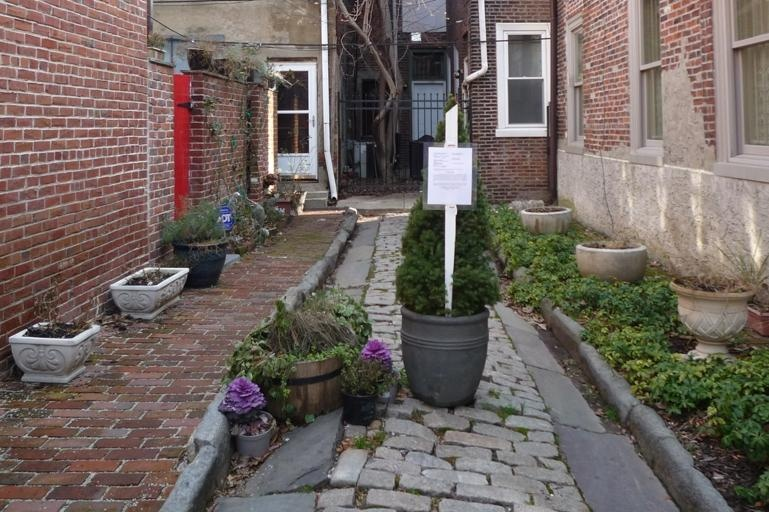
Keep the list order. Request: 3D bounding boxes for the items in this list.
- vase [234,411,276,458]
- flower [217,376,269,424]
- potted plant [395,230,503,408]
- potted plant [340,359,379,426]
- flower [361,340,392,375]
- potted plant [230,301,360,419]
[{"bbox_3d":[-0.958,1.343,4.085,0.256,0.191,0.264,0,-2,2],"label":"vase"},{"bbox_3d":[-1.045,1.052,4.109,0.304,0.333,0.308,10,15,35],"label":"flower"},{"bbox_3d":[0.511,0.792,4.833,0.720,0.942,0.755,-2,8,-14],"label":"potted plant"},{"bbox_3d":[-0.183,1.098,4.400,0.345,0.341,0.430,1,0,0],"label":"potted plant"},{"bbox_3d":[-0.097,0.828,4.482,0.237,0.281,0.250,-1,5,24],"label":"flower"},{"bbox_3d":[-1.030,0.938,4.773,1.031,0.708,1.375,8,-1,-9],"label":"potted plant"}]
